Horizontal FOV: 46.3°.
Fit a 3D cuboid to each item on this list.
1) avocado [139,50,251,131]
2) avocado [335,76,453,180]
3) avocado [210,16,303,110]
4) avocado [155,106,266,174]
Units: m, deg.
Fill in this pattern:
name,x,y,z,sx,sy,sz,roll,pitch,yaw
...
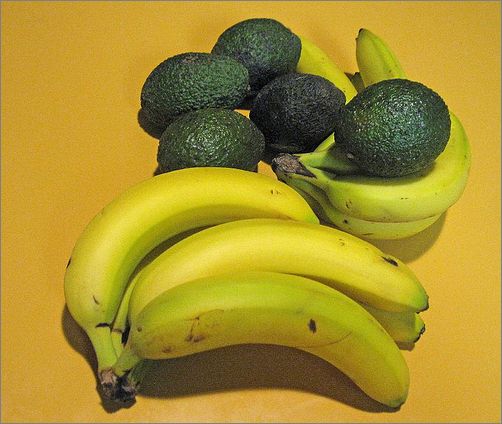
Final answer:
name,x,y,z,sx,sy,sz,roll,pitch,yaw
avocado,-0.134,-0.302,1.466,0.231,0.150,0.140,-13,-48,10
avocado,0.331,-0.203,1.369,0.298,0.191,0.231,14,0,7
avocado,-0.004,-0.414,1.568,0.234,0.224,0.164,-31,-46,-38
avocado,-0.103,-0.202,1.428,0.228,0.303,0.148,-14,-56,-22
